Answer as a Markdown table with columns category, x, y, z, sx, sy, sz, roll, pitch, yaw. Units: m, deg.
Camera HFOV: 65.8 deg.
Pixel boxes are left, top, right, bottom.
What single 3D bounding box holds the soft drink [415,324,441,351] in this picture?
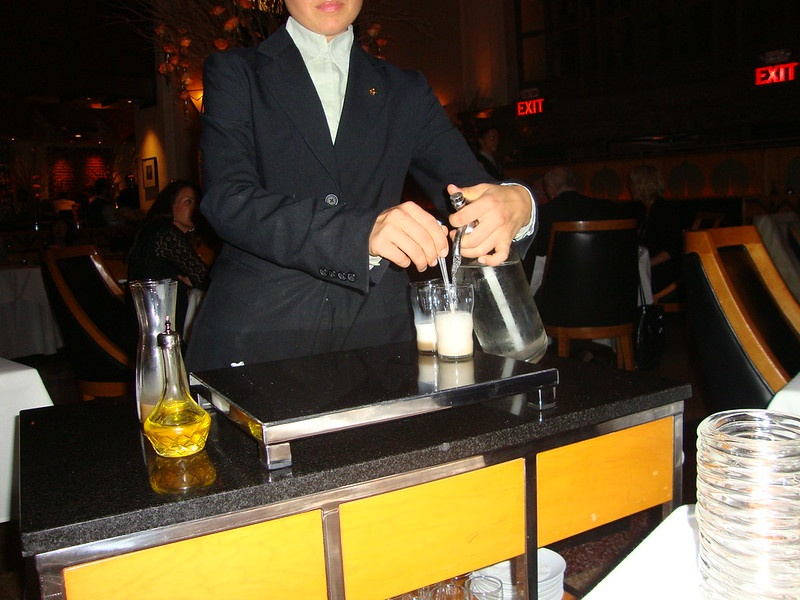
| category | x | y | z | sx | sy | sz | roll | pitch | yaw |
| --- | --- | --- | --- | --- | --- | --- | --- | --- | --- |
| soft drink | 0.055 | 0.077 | 1.264 | 0.051 | 0.058 | 0.053 | -1 | -3 | 3 |

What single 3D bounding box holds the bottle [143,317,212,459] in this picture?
| category | x | y | z | sx | sy | sz | roll | pitch | yaw |
| --- | --- | --- | --- | --- | --- | --- | --- | --- | --- |
| bottle | -0.375 | 0.145 | 1.012 | 0.118 | 0.231 | 0.109 | -3 | 6 | 0 |

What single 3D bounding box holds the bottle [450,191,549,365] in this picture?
| category | x | y | z | sx | sy | sz | roll | pitch | yaw |
| --- | --- | --- | --- | --- | --- | --- | --- | --- | --- |
| bottle | 0.199 | -0.032 | 1.268 | 0.124 | 0.325 | 0.123 | -14 | 3 | 1 |

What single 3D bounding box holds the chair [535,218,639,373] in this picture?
| category | x | y | z | sx | sy | sz | roll | pitch | yaw |
| --- | --- | --- | --- | --- | --- | --- | --- | --- | --- |
| chair | 1.119 | -0.015 | 3.686 | 0.618 | 0.873 | 0.609 | 0 | 5 | 8 |

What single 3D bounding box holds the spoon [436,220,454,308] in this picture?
| category | x | y | z | sx | sy | sz | roll | pitch | yaw |
| --- | --- | --- | --- | --- | --- | --- | --- | --- | --- |
| spoon | 0.092 | -0.058 | 1.194 | 0.020 | 0.132 | 0.043 | -6 | 13 | -1 |

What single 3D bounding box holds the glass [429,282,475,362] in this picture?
| category | x | y | z | sx | sy | sz | roll | pitch | yaw |
| --- | --- | --- | --- | --- | --- | --- | --- | --- | --- |
| glass | 0.101 | 0.045 | 1.193 | 0.079 | 0.153 | 0.047 | 1 | 10 | 1 |
